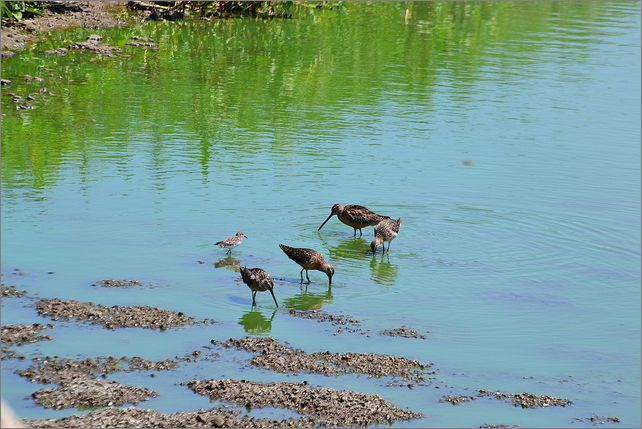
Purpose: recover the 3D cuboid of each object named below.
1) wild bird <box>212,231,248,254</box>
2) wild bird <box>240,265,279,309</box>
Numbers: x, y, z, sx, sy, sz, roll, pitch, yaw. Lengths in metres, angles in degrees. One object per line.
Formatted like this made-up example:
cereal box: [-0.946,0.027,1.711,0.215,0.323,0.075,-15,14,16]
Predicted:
wild bird: [-2.813,0.906,22.828,0.685,0.671,1.222,12,20,30]
wild bird: [-1.736,2.057,20.171,0.979,1.238,0.610,-3,24,-6]
